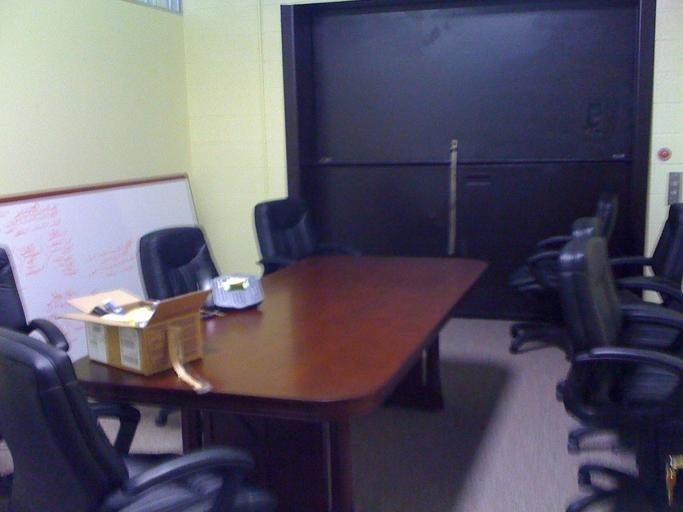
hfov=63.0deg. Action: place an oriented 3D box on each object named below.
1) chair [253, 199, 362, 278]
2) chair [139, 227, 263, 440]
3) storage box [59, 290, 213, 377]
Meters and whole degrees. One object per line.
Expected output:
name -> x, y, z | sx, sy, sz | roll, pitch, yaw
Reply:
chair -> -0.253, -0.146, 3.401 | 0.502, 0.644, 0.496 | -19, 11, -43
chair -> -0.715, 0.227, 2.604 | 0.404, 0.654, 0.420 | 1, 19, 29
storage box -> -0.664, 0.212, 1.737 | 0.320, 0.228, 0.345 | 6, 11, 25
